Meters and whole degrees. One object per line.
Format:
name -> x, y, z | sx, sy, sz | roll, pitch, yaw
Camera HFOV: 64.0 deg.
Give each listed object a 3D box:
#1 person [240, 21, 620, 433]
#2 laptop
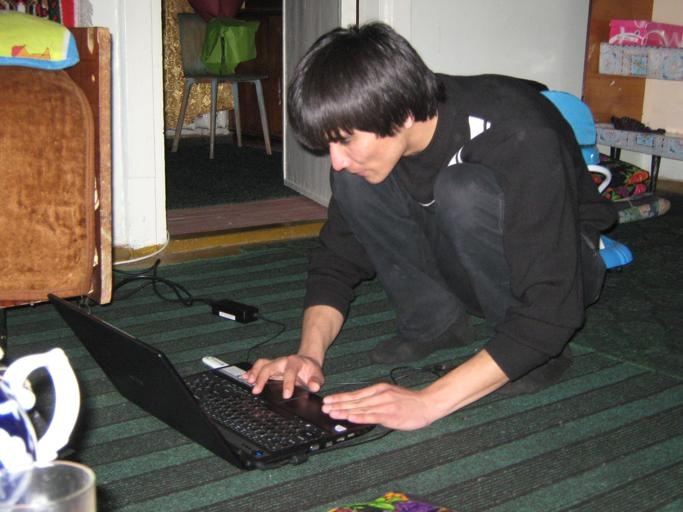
person -> 0.228, -0.089, 1.266 | 0.960, 0.753, 0.682 | -11, 15, -26
laptop -> -0.265, 0.208, 1.055 | 0.522, 0.329, 0.364 | 16, 25, 36
